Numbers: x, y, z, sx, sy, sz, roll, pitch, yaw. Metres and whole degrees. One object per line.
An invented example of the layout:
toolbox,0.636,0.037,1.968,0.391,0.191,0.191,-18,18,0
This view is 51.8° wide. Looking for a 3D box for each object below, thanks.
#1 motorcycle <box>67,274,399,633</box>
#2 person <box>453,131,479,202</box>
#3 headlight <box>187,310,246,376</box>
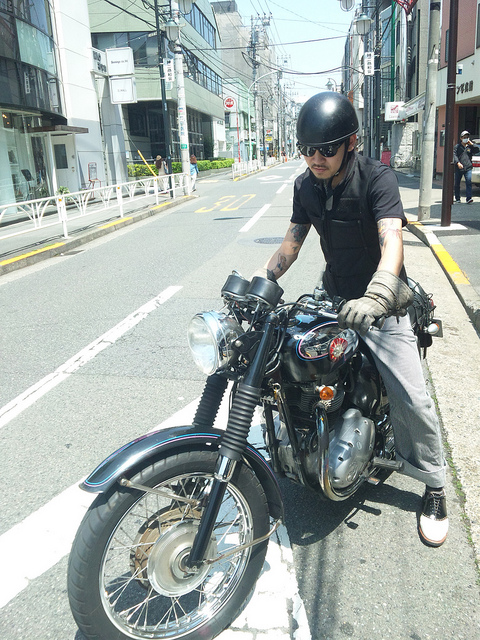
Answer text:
motorcycle,-0.005,0.385,2.198,0.684,1.119,1.880,7,10,42
person,6.090,-4.167,13.612,0.476,1.873,1.309,2,21,23
headlight,-0.073,0.059,1.568,0.151,0.201,0.172,13,18,40
